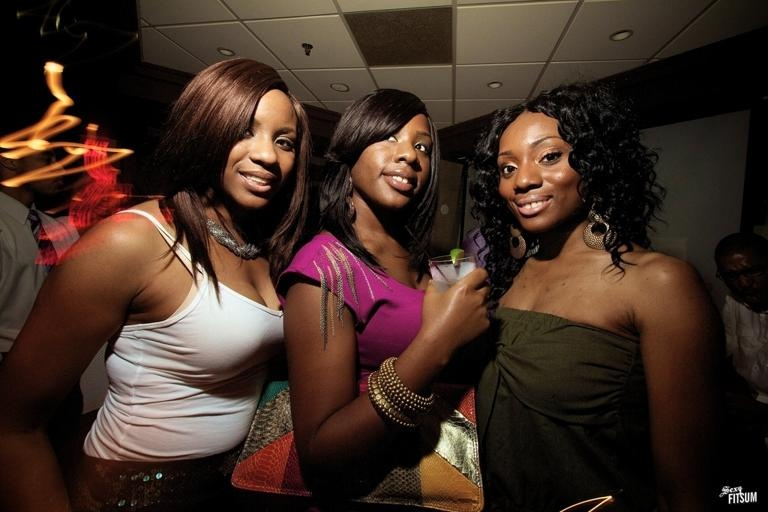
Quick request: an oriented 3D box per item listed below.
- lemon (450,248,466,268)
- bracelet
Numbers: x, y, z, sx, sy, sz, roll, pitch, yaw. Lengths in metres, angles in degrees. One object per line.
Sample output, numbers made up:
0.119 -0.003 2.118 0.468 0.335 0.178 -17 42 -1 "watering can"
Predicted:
0.406 0.006 3.009 0.084 0.082 0.086 17 21 40 "lemon"
0.043 0.712 2.781 0.325 0.160 0.326 35 -9 37 "bracelet"
